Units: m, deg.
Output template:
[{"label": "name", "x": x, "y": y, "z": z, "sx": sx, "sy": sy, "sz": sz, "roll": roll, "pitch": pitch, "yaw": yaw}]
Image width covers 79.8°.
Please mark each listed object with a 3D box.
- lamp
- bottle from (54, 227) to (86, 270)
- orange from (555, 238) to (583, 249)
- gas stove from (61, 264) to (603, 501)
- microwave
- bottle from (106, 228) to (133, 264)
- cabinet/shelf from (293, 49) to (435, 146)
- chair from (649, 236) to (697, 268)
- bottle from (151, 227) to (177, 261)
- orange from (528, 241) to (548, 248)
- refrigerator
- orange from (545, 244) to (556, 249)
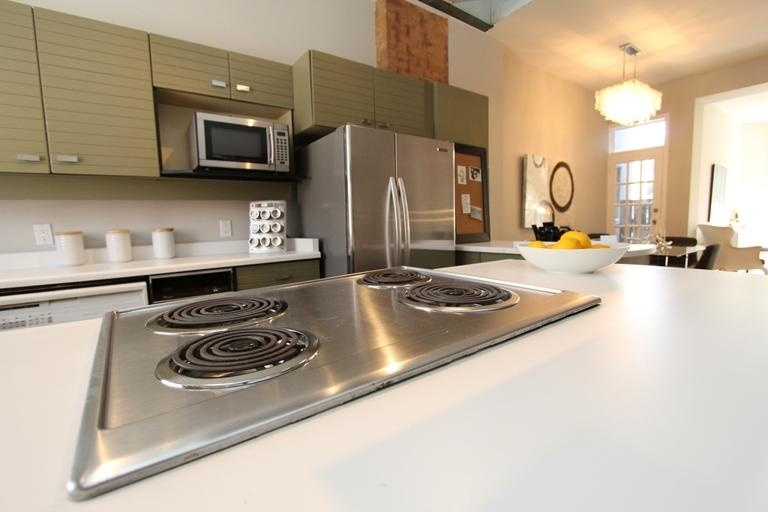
[{"label": "lamp", "x": 2.205, "y": -1.558, "z": 4.108, "sx": 0.445, "sy": 0.542, "sz": 0.463, "roll": 2, "pitch": 6, "yaw": 39}, {"label": "bottle", "x": -1.700, "y": -0.042, "z": 2.493, "sx": 0.127, "sy": 0.186, "sz": 0.151, "roll": -6, "pitch": 7, "yaw": -31}, {"label": "orange", "x": 0.619, "y": -0.039, "z": 1.529, "sx": 0.048, "sy": 0.029, "sz": 0.055, "roll": -7, "pitch": 6, "yaw": 2}, {"label": "gas stove", "x": -0.161, "y": 0.222, "z": 1.105, "sx": 1.031, "sy": 0.246, "sz": 0.613, "roll": -5, "pitch": 6, "yaw": -31}, {"label": "microwave", "x": -0.932, "y": -0.657, "z": 2.845, "sx": 0.400, "sy": 0.299, "sz": 0.615, "roll": 0, "pitch": 5, "yaw": 43}, {"label": "bottle", "x": -1.520, "y": -0.058, "z": 2.635, "sx": 0.132, "sy": 0.186, "sz": 0.169, "roll": -6, "pitch": 7, "yaw": -29}, {"label": "cabinet/shelf", "x": 0.017, "y": -1.148, "z": 3.348, "sx": 1.260, "sy": 0.504, "sz": 0.368, "roll": 1, "pitch": 13, "yaw": -31}, {"label": "chair", "x": 2.087, "y": -0.026, "z": 3.284, "sx": 0.240, "sy": 0.262, "sz": 0.322, "roll": -3, "pitch": 2, "yaw": -32}, {"label": "bottle", "x": -1.326, "y": -0.076, "z": 2.765, "sx": 0.130, "sy": 0.185, "sz": 0.182, "roll": -6, "pitch": 6, "yaw": -24}, {"label": "orange", "x": 0.548, "y": -0.039, "z": 1.624, "sx": 0.041, "sy": 0.027, "sz": 0.050, "roll": 0, "pitch": 15, "yaw": -23}, {"label": "refrigerator", "x": 0.026, "y": -0.341, "z": 2.924, "sx": 0.863, "sy": 0.862, "sz": 0.364, "roll": -8, "pitch": 8, "yaw": -43}, {"label": "orange", "x": 0.576, "y": -0.032, "z": 1.572, "sx": 0.034, "sy": 0.016, "sz": 0.031, "roll": -9, "pitch": 8, "yaw": -19}]
